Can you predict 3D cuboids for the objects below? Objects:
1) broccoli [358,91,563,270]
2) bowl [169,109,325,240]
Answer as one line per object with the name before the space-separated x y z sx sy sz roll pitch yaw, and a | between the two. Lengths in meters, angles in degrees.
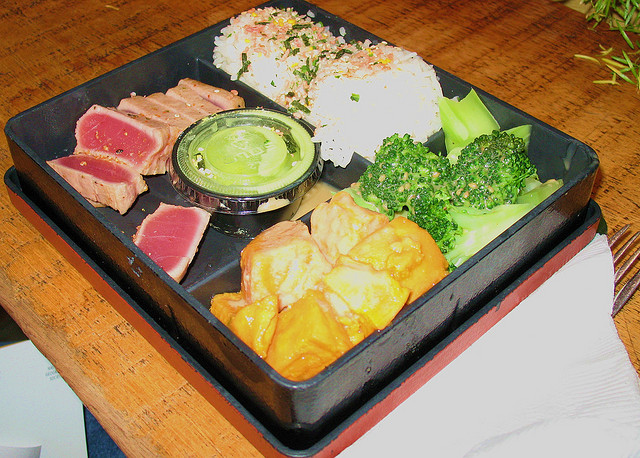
broccoli | 0.432 -0.122 1.561 0.518 0.173 0.521 -38 63 -7
bowl | -0.251 -0.187 1.815 0.523 0.277 0.557 2 43 -2
